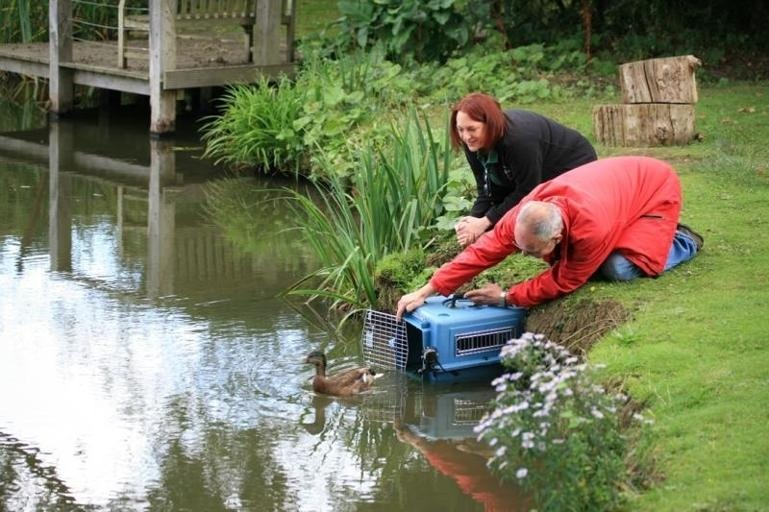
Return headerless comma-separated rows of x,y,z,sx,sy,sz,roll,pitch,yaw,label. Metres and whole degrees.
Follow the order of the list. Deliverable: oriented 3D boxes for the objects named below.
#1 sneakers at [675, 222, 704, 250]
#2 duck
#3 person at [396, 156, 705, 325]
2.605,-0.164,8.202,0.096,0.239,0.079,-33,-20,-35,sneakers
-0.327,0.952,7.824,0.668,0.405,0.237,-2,4,-25,duck
1.364,-0.162,7.830,2.809,0.846,1.018,-16,32,-14,person
